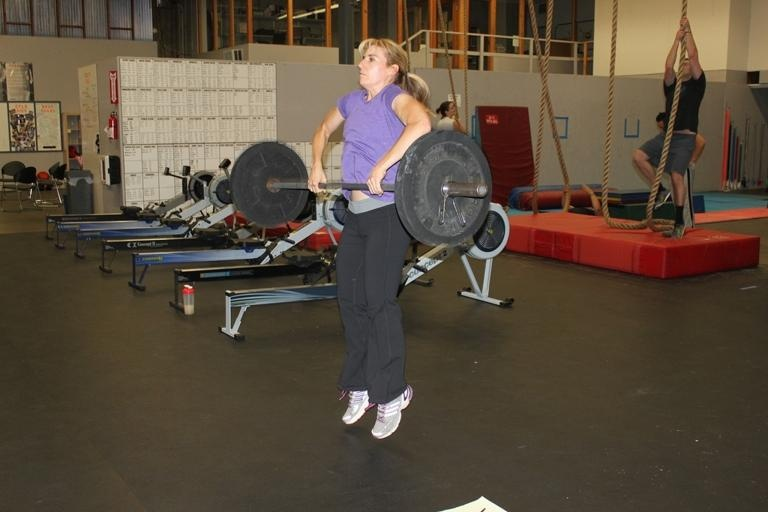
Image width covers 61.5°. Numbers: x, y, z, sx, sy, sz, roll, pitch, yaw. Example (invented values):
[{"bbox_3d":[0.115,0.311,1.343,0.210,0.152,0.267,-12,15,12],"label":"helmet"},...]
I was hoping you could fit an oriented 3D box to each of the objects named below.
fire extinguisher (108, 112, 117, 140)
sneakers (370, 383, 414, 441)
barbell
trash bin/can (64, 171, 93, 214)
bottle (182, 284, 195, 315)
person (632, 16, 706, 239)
[{"bbox_3d":[-3.948,-1.884,9.389,0.101,0.396,0.398,-9,17,-31],"label":"fire extinguisher"},{"bbox_3d":[0.044,0.859,3.661,0.126,0.167,0.377,-13,30,39],"label":"sneakers"},{"bbox_3d":[-0.223,-0.415,3.986,1.971,0.764,0.733,5,5,36],"label":"barbell"},{"bbox_3d":[-4.873,-1.012,10.360,0.383,0.702,0.452,-9,17,-34],"label":"trash bin/can"},{"bbox_3d":[-1.650,0.381,5.453,0.075,0.244,0.101,-1,14,-4],"label":"bottle"},{"bbox_3d":[3.201,-1.384,7.175,0.676,2.235,0.762,2,9,13],"label":"person"}]
